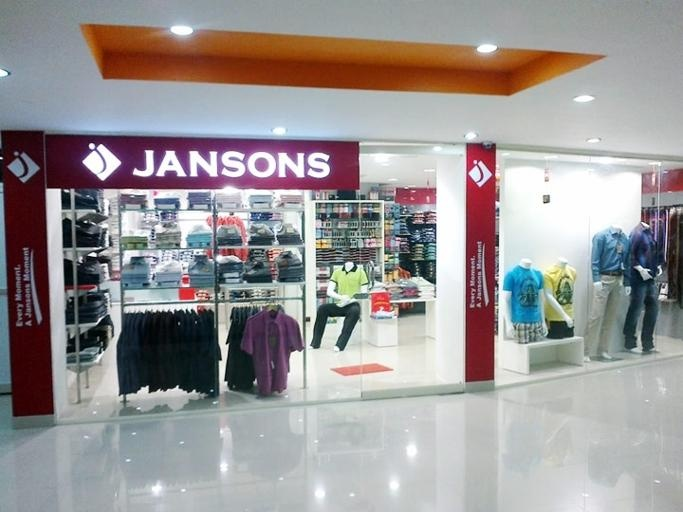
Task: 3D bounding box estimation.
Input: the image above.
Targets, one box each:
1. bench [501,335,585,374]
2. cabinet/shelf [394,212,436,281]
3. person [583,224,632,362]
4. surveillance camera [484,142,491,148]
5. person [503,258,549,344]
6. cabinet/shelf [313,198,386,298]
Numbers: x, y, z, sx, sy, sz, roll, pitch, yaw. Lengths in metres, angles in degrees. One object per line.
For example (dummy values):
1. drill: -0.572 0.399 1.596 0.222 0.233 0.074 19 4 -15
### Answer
1. bench: 2.699 1.296 7.385 1.251 0.459 0.368 -5 10 -22
2. cabinet/shelf: 0.922 -0.132 6.828 0.546 0.974 0.184 -6 10 -28
3. person: 3.792 0.533 7.795 0.885 1.899 0.272 -7 11 -34
4. surveillance camera: 1.760 -1.342 6.563 0.096 0.066 0.053 0 -1 9
5. person: 2.453 0.585 7.237 0.619 1.083 0.287 -5 10 -26
6. cabinet/shelf: 0.058 -0.064 6.696 0.756 1.295 0.372 -2 8 -5
